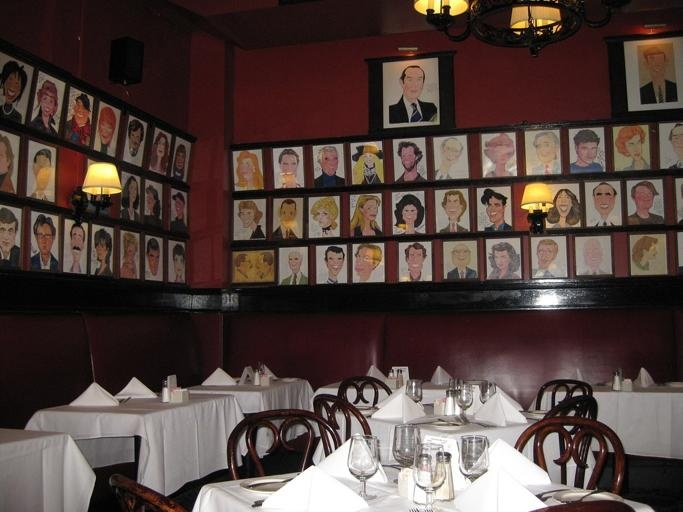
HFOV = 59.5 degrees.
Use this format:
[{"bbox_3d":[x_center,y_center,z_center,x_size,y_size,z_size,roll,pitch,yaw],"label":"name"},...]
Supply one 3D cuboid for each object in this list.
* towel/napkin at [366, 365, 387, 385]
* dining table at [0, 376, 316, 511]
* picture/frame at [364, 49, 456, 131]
[{"bbox_3d":[0.337,1.086,5.497,0.194,0.226,0.128,3,-5,-14],"label":"towel/napkin"},{"bbox_3d":[-1.352,1.310,4.689,1.320,0.721,3.146,-4,-7,21],"label":"dining table"},{"bbox_3d":[0.807,-1.832,6.652,0.771,0.793,0.146,-1,-6,11],"label":"picture/frame"}]
